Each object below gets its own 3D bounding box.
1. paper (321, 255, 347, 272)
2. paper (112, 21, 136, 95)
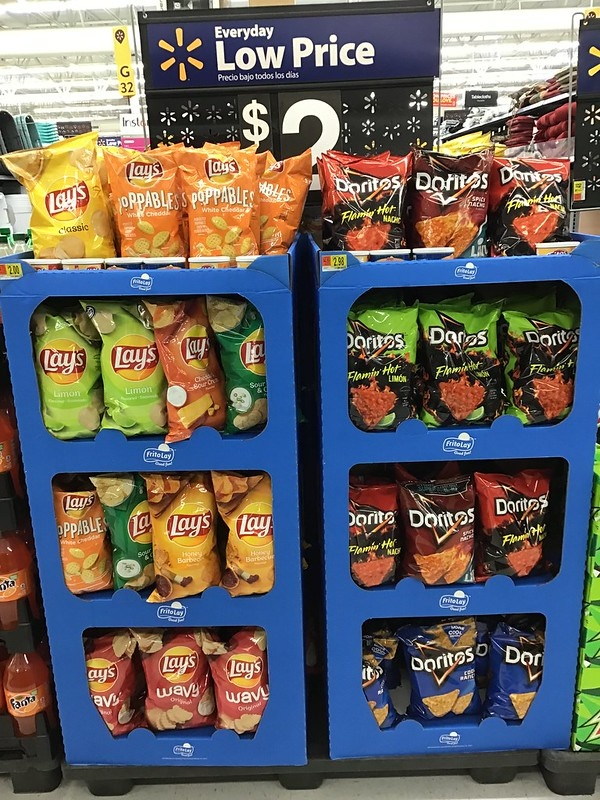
[{"bbox_3d":[0.077,-0.310,1.506,0.063,0.039,0.033,-1,13,1],"label":"paper"},{"bbox_3d":[-1.611,-3.088,6.055,0.152,0.576,0.043,-5,12,-3],"label":"paper"}]
